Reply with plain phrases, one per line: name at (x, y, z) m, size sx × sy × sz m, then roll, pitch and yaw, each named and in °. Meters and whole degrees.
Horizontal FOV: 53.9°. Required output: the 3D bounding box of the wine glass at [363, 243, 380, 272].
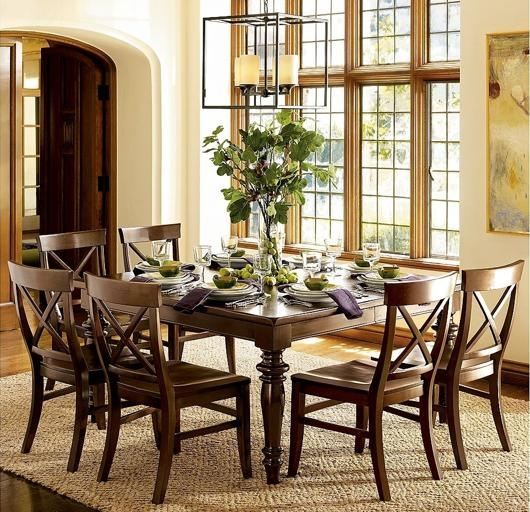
wine glass at (0.619, -0.001, 3.066) m, size 0.118 × 0.212 × 0.120 m, roll -1°, pitch 4°, yaw 7°

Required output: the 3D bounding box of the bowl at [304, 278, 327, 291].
bowl at (0.236, 0.118, 2.376) m, size 0.062 × 0.031 × 0.064 m, roll 3°, pitch 1°, yaw 0°

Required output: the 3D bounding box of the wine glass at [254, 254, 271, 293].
wine glass at (-0.011, 0.097, 2.655) m, size 0.092 × 0.236 × 0.096 m, roll -1°, pitch 15°, yaw -6°

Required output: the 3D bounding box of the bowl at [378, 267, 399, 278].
bowl at (0.655, 0.085, 2.786) m, size 0.070 × 0.038 × 0.073 m, roll -2°, pitch 1°, yaw 0°

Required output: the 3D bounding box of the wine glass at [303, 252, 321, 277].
wine glass at (0.233, 0.040, 2.677) m, size 0.105 × 0.177 × 0.109 m, roll 0°, pitch 3°, yaw 13°
